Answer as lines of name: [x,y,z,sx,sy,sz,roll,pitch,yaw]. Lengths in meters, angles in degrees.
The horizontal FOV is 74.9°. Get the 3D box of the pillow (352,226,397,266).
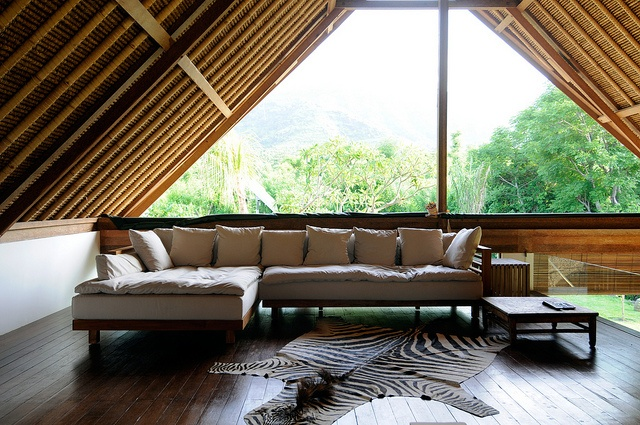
pillow: [0.669,0.434,5.145,0.469,0.394,0.168,2,-21,0]

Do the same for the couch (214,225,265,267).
couch: [-0.994,0.427,5.205,0.610,0.514,0.207,2,1,-1]

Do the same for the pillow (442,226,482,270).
pillow: [1.695,0.415,5.015,0.310,0.491,0.588,1,-1,-5]

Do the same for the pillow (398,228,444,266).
pillow: [1.277,0.425,5.203,0.561,0.478,0.203,-4,-3,28]

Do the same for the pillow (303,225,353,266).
pillow: [0.117,0.417,5.176,0.591,0.494,0.219,2,-9,1]

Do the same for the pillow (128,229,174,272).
pillow: [-2.124,0.578,5.079,0.364,0.523,0.646,0,-28,-19]
